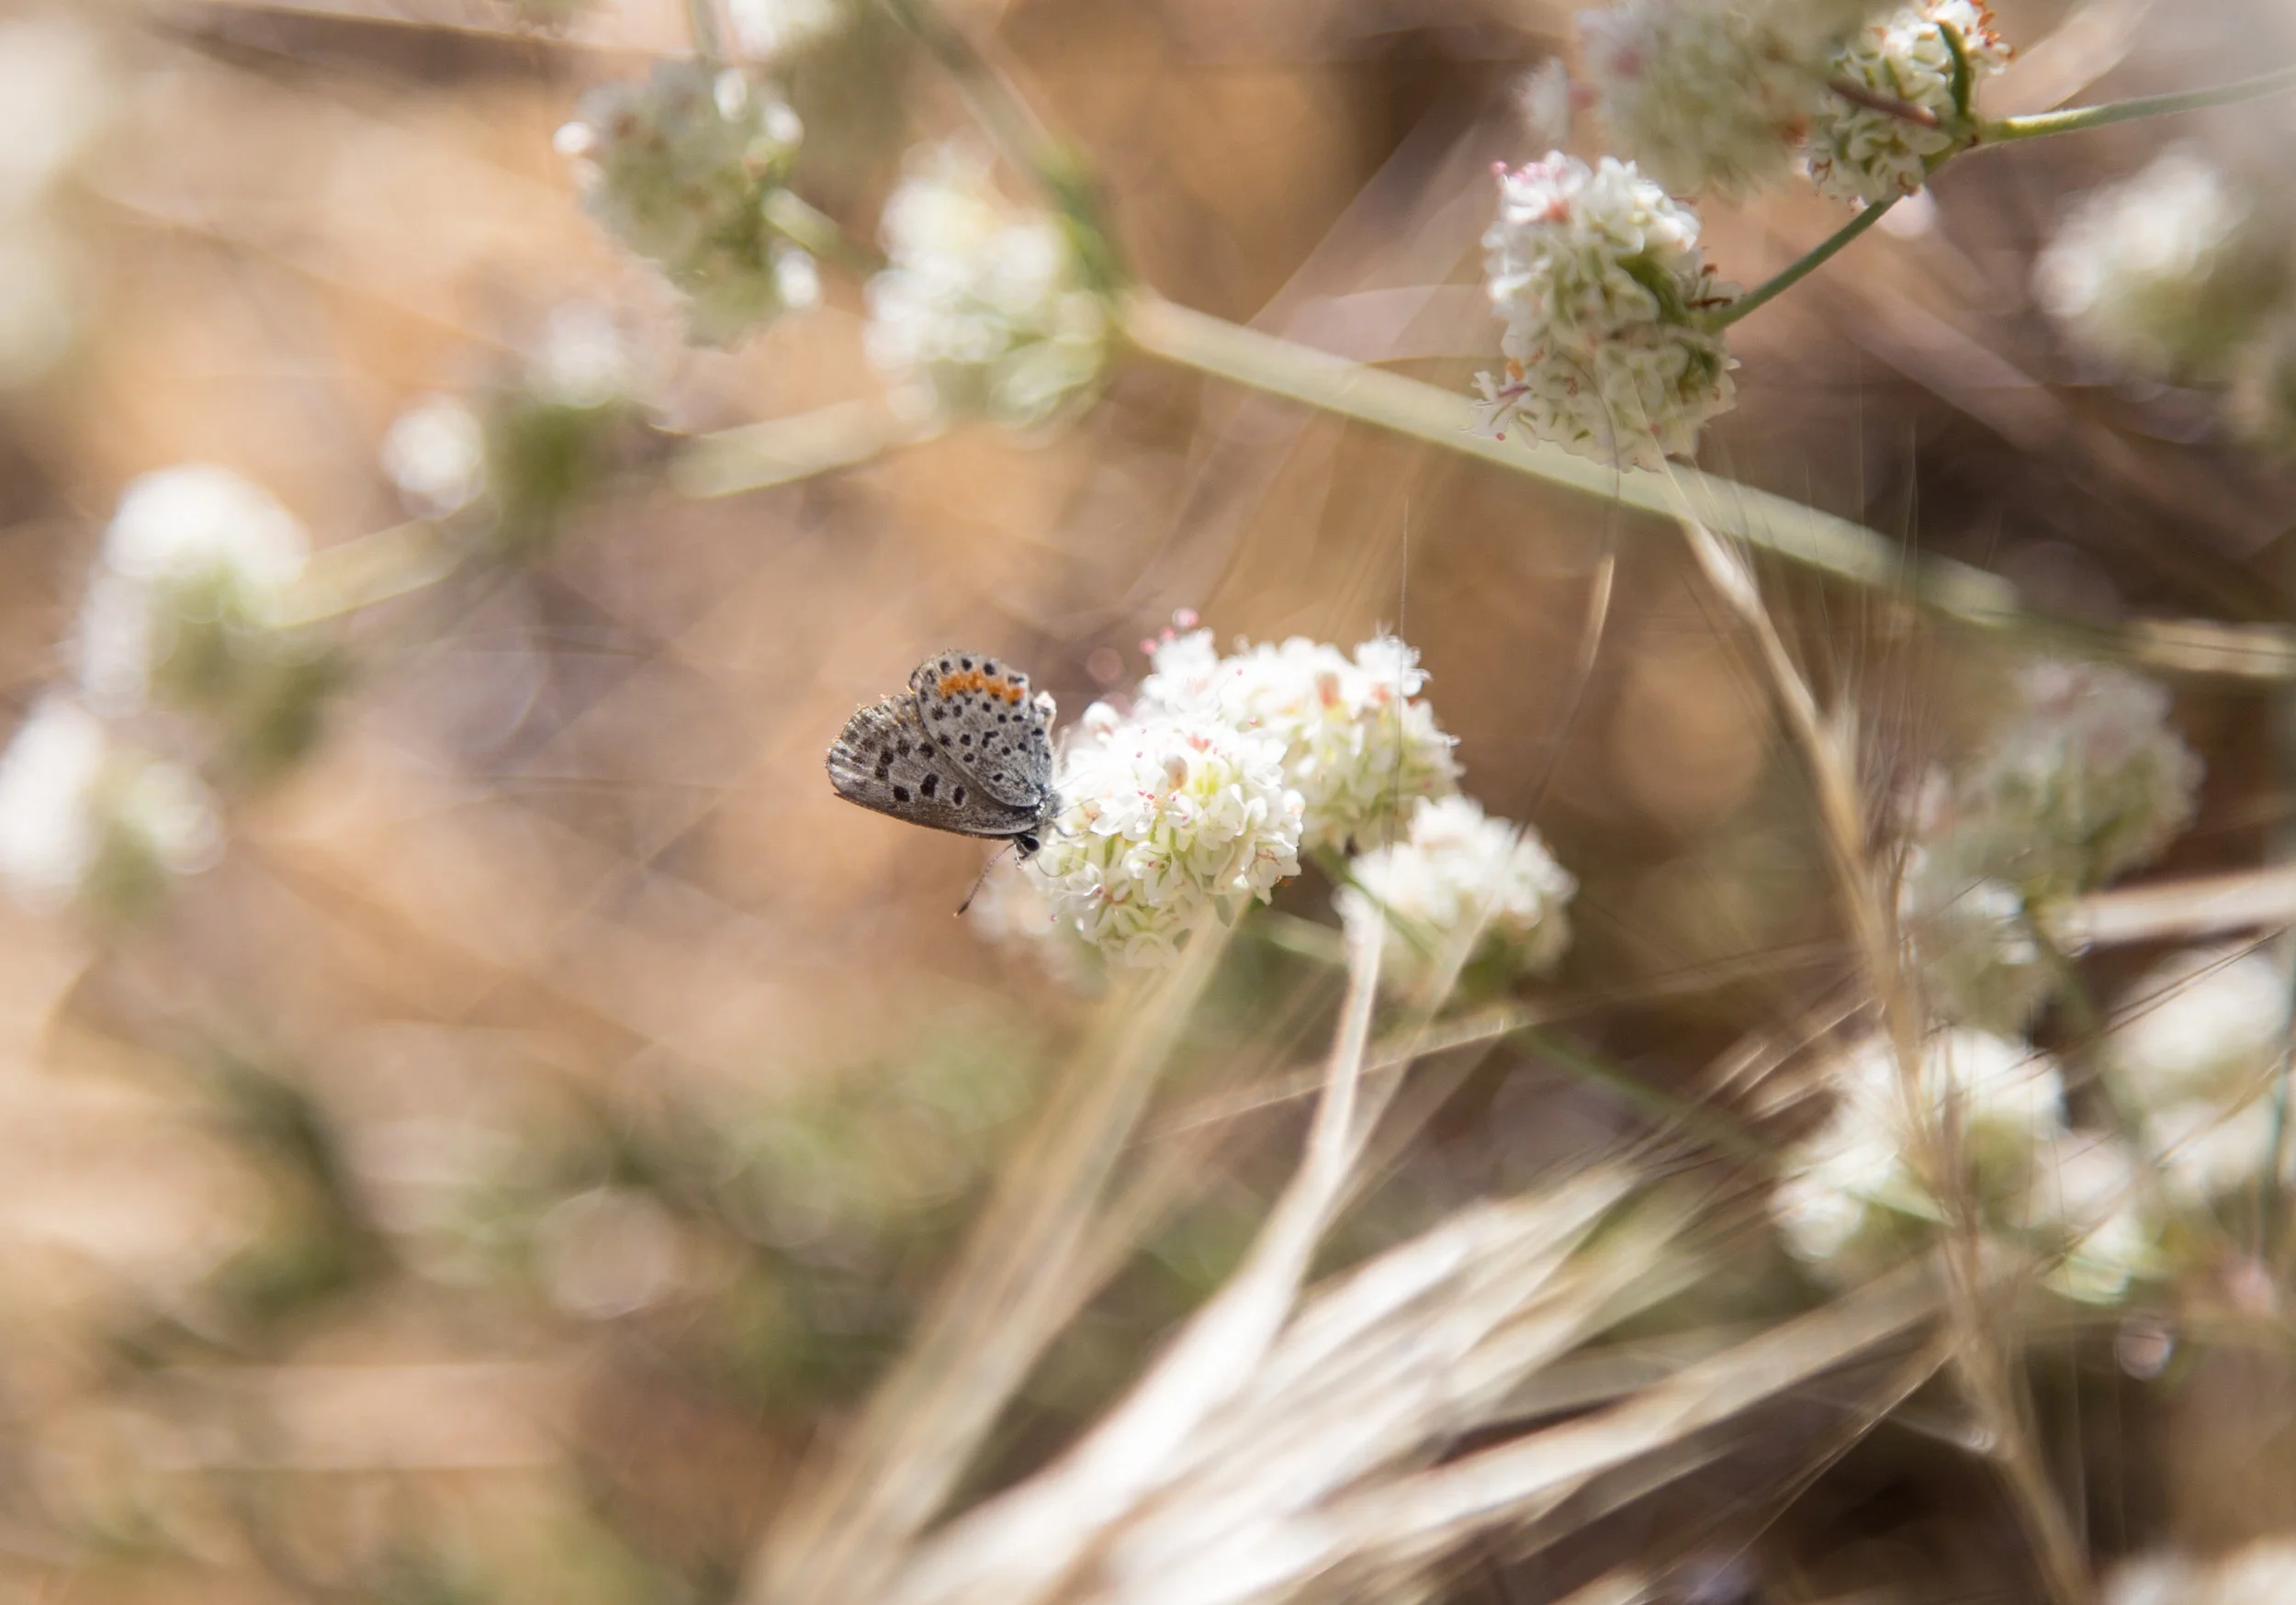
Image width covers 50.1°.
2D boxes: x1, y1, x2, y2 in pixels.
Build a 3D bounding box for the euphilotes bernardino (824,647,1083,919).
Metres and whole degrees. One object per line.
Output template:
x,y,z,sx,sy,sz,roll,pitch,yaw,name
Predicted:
-0.167,-0.015,2.423,0.235,0.234,0.150,25,-63,-10,euphilotes bernardino
